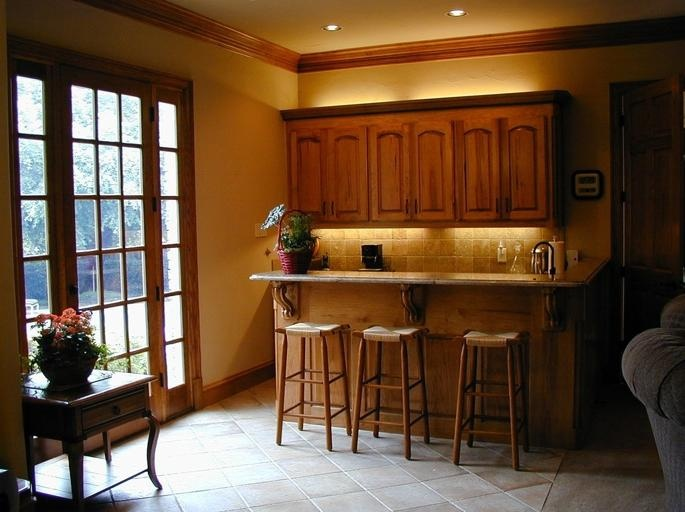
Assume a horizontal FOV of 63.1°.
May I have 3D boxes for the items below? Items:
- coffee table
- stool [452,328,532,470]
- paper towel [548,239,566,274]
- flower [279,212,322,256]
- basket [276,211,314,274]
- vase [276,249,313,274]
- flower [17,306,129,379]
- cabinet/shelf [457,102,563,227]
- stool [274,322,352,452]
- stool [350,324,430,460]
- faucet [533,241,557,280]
[{"bbox_3d":[-1.583,1.024,3.634,0.745,0.826,0.866,-1,1,22],"label":"coffee table"},{"bbox_3d":[1.075,1.003,3.990,0.652,0.875,0.640,0,-1,-21],"label":"stool"},{"bbox_3d":[2.185,0.029,5.529,0.159,0.279,0.160,-7,8,7],"label":"paper towel"},{"bbox_3d":[-0.382,-0.209,4.560,0.311,0.360,0.178,-3,19,-13],"label":"flower"},{"bbox_3d":[-0.381,-0.134,4.589,0.302,0.519,0.305,0,8,10],"label":"basket"},{"bbox_3d":[-0.395,0.033,4.575,0.216,0.156,0.222,1,1,34],"label":"vase"},{"bbox_3d":[-1.703,0.531,3.447,0.448,0.443,0.471,0,0,-18],"label":"flower"},{"bbox_3d":[1.728,-0.940,5.562,1.216,1.342,0.508,0,2,19],"label":"cabinet/shelf"},{"bbox_3d":[-0.270,0.981,4.382,0.663,0.921,0.663,-1,7,7],"label":"stool"},{"bbox_3d":[0.356,0.988,4.193,0.601,0.917,0.619,-1,7,7],"label":"stool"},{"bbox_3d":[1.783,0.018,4.935,0.215,0.327,0.094,5,-15,12],"label":"faucet"}]
